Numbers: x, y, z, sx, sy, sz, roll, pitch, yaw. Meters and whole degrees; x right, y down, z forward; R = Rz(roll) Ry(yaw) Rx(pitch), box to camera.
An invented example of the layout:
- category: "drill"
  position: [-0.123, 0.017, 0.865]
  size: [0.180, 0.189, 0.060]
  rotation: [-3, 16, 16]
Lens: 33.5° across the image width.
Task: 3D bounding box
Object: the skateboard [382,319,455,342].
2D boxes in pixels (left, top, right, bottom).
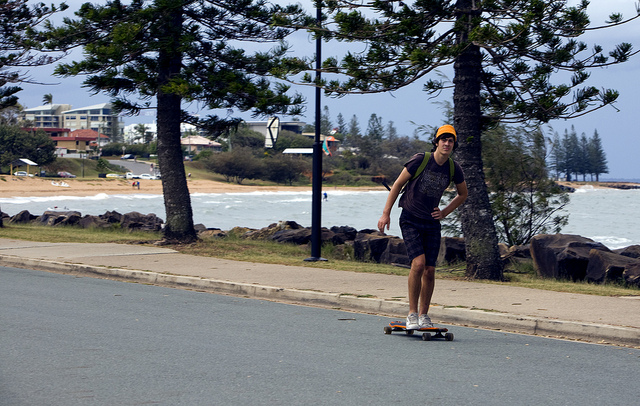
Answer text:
- category: "skateboard"
  position: [1.991, 2.648, 22.034]
  size: [0.532, 0.154, 1.321]
  rotation: [-2, 2, -40]
